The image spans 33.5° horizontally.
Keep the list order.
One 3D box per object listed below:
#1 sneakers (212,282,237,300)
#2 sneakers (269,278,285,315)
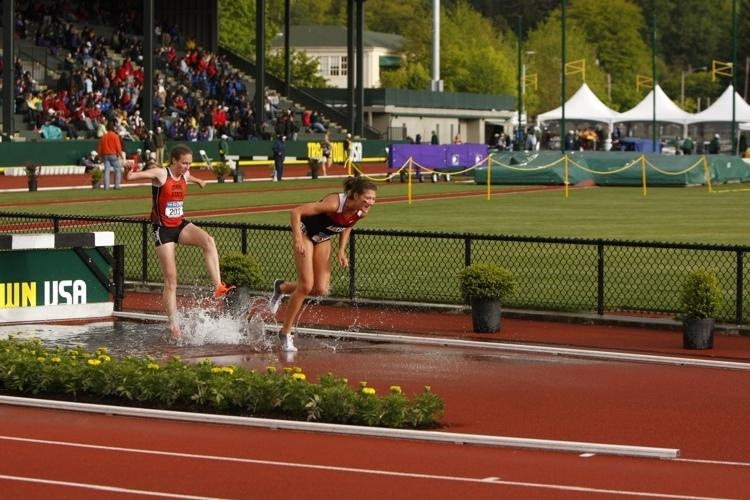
[{"bbox_3d":[-2.464,0.647,19.715,0.199,0.266,0.596,0,-7,-31],"label":"sneakers"},{"bbox_3d":[-1.613,0.800,20.557,0.200,0.624,0.243,4,22,-17],"label":"sneakers"}]
